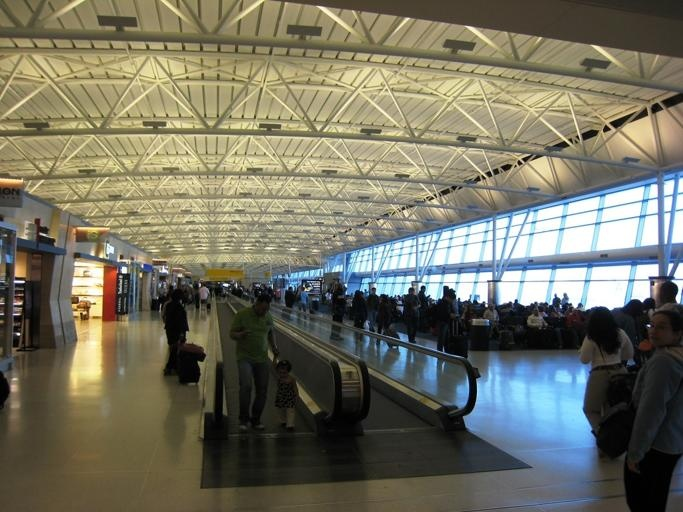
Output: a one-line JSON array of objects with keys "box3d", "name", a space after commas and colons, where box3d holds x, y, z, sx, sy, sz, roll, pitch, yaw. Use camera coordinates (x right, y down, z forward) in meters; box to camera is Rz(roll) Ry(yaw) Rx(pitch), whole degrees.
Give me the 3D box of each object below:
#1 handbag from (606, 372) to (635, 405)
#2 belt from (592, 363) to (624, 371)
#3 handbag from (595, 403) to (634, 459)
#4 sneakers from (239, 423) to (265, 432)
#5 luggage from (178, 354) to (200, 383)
[{"box3d": [3.834, 1.873, 6.568, 0.312, 0.512, 0.569, 5, 1, 29], "name": "handbag"}, {"box3d": [3.832, 1.603, 6.848, 0.225, 0.043, 0.187, -2, -1, -8], "name": "belt"}, {"box3d": [3.378, 2.179, 5.920, 0.347, 0.747, 0.387, 5, 0, 28], "name": "handbag"}, {"box3d": [-1.437, 2.711, 7.511, 0.448, 0.146, 0.139, -1, -4, 6], "name": "sneakers"}, {"box3d": [-3.405, 2.530, 10.690, 0.595, 0.741, 0.426, 6, -23, -20], "name": "luggage"}]
